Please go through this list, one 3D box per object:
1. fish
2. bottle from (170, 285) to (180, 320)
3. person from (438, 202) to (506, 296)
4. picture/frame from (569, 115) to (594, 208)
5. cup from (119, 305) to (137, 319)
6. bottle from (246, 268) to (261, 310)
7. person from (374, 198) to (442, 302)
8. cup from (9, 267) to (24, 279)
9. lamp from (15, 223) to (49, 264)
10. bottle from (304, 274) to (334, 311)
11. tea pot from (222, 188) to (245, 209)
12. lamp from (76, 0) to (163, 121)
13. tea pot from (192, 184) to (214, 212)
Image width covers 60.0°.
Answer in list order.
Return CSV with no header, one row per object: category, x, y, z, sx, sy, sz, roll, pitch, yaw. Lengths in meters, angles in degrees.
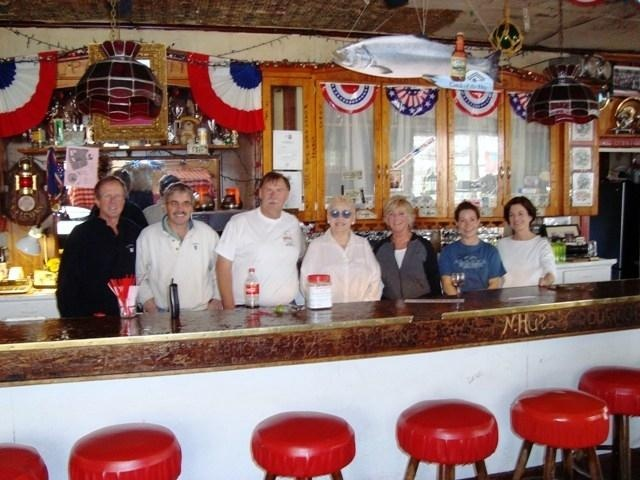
fish,0.732,-1.283,3.907,1.328,0.344,0.222,-3,5,-22
bottle,-0.859,0.364,3.282,0.053,0.199,0.120,-3,5,-17
person,1.218,0.122,4.428,0.567,0.807,0.471,-1,4,20
picture/frame,3.058,-0.881,6.449,0.394,1.003,0.124,-4,5,-30
cup,-1.144,0.426,3.323,0.098,0.071,0.101,-1,4,0
bottle,-0.425,0.300,3.484,0.076,0.247,0.106,-2,5,-10
person,0.672,0.057,4.403,0.484,0.814,0.402,1,5,27
cup,-2.980,0.331,5.452,0.151,0.128,0.105,1,1,-19
lamp,-2.841,0.038,5.483,0.251,0.339,0.483,-3,5,-24
bottle,-0.016,0.323,3.449,0.162,0.211,0.105,-1,4,8
tea pot,-0.865,-0.428,5.650,0.226,0.199,0.219,1,7,0
lamp,-1.299,-1.168,3.820,0.625,0.960,0.581,-3,5,-17
tea pot,-1.120,-0.450,5.696,0.242,0.272,0.299,1,2,1
